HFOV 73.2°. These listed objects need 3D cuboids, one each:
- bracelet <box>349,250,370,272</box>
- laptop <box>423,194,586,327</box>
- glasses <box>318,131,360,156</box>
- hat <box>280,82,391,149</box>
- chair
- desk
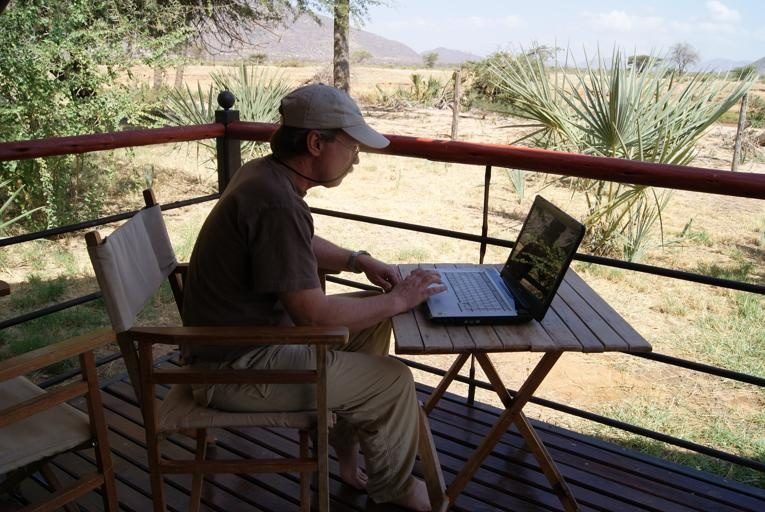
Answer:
[{"bbox_3d":[-0.130,0.024,2.452,0.125,0.102,0.078,5,10,-33],"label":"bracelet"},{"bbox_3d":[0.448,0.077,2.121,0.621,0.393,0.622,2,15,-3],"label":"laptop"},{"bbox_3d":[-0.172,-0.438,2.013,0.095,0.027,0.093,26,5,43],"label":"glasses"},{"bbox_3d":[-0.188,-0.545,2.006,0.396,0.171,0.223,4,21,-7],"label":"hat"},{"bbox_3d":[-0.681,0.365,2.804,1.386,1.816,1.464,-1,20,-4],"label":"chair"},{"bbox_3d":[0.598,0.604,2.510,1.212,0.975,1.085,-3,21,-8],"label":"desk"}]
